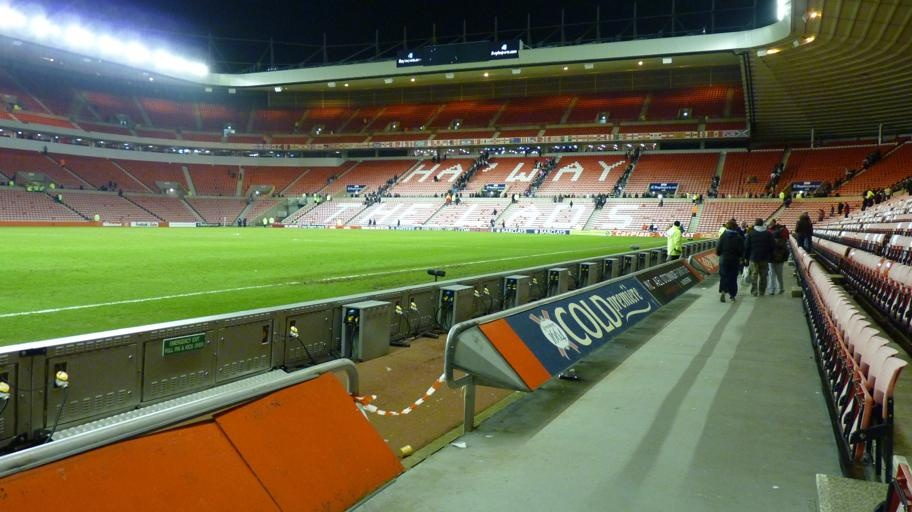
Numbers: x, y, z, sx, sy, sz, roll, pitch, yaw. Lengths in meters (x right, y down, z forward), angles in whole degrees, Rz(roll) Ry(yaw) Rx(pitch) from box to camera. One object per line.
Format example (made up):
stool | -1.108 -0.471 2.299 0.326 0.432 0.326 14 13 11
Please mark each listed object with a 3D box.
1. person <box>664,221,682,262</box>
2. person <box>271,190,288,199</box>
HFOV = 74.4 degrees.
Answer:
person | 7.100 -0.412 19.577 0.454 1.267 1.222 8 14 18
person | -18.789 -6.616 64.250 1.361 0.600 1.576 -4 14 -28
